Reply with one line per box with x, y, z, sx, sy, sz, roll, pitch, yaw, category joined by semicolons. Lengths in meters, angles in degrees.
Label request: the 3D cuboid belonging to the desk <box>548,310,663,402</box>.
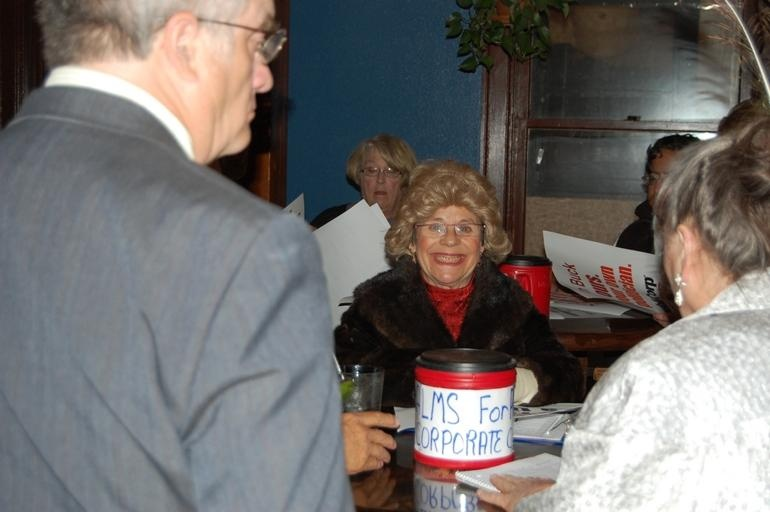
0.768;0.329;2.733;0.324;0.526;0.389;0;9;4;desk

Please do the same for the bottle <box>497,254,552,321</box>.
0.484;0.109;2.599;0.198;0.214;0.220;0;-1;10;bottle

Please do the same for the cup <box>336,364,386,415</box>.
-0.045;0.278;1.526;0.090;0.098;0.093;1;-3;0;cup

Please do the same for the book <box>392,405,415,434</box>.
0.043;0.368;1.657;0.049;0.054;0.047;3;-1;-9;book

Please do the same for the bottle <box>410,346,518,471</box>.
0.150;0.295;1.466;0.206;0.213;0.203;0;3;4;bottle

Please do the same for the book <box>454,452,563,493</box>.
0.228;0.391;1.341;0.107;0.016;0.105;-3;1;-36;book

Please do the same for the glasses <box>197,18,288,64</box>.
-0.190;-0.318;1.066;0.072;0.023;0.069;21;1;8;glasses
